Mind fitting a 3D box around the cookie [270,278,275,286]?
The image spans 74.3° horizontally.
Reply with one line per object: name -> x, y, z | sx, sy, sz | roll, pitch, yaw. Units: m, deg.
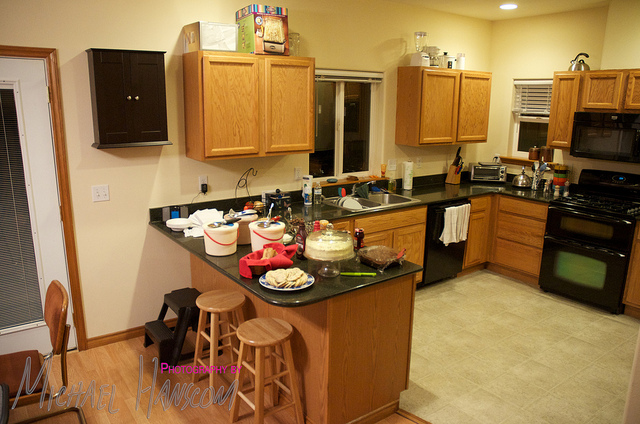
cookie -> -0.363, 0.536, 3.222 | 0.011, 0.046, 0.045 | -23, 44, 24

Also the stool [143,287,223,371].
stool -> -1.461, 1.149, 4.310 | 0.817, 0.678, 0.618 | 0, 7, -37

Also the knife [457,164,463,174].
knife -> 2.096, -0.641, 6.330 | 0.046, 0.182, 0.027 | 23, 4, -37

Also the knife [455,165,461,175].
knife -> 2.043, -0.628, 6.275 | 0.047, 0.156, 0.032 | 20, 5, -36

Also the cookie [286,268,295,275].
cookie -> -0.224, 0.463, 3.305 | 0.055, 0.009, 0.121 | -11, 18, -36

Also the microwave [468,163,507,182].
microwave -> 2.552, -0.600, 6.411 | 0.558, 0.288, 0.295 | 5, 16, 20

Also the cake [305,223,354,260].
cake -> 0.042, 0.216, 3.485 | 0.434, 0.263, 0.438 | 8, 14, 15

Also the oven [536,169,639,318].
oven -> 3.466, 0.319, 5.436 | 0.952, 1.600, 0.990 | 10, 18, 34

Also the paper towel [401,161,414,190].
paper towel -> 1.215, -0.510, 5.916 | 0.159, 0.375, 0.137 | 1, 15, 7

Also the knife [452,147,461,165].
knife -> 2.080, -0.865, 6.403 | 0.079, 0.058, 0.443 | 18, 58, 10

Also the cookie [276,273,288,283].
cookie -> -0.295, 0.503, 3.234 | 0.089, 0.037, 0.078 | -4, 15, -16

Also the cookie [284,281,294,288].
cookie -> -0.238, 0.551, 3.195 | 0.069, 0.013, 0.008 | -37, -4, -7

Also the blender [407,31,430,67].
blender -> 1.329, -2.145, 5.618 | 0.277, 0.439, 0.280 | -8, 20, -20
